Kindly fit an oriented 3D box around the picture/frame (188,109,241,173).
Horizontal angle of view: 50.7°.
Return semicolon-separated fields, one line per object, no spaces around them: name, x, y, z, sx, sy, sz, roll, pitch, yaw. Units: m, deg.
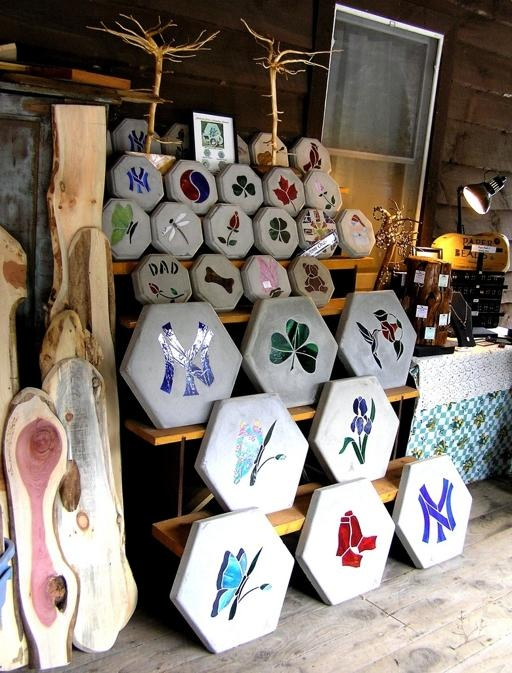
picture/frame;-0.160;-0.770;2.156;0.116;0.242;0.236;13;13;38

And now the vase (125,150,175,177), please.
vase;-0.353;-0.595;1.855;0.052;0.070;0.208;11;12;33

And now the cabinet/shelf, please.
cabinet/shelf;-0.002;0.275;1.910;1.216;1.008;0.353;-4;12;-36

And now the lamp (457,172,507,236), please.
lamp;1.409;-0.838;3.452;0.250;0.381;0.646;8;10;18
